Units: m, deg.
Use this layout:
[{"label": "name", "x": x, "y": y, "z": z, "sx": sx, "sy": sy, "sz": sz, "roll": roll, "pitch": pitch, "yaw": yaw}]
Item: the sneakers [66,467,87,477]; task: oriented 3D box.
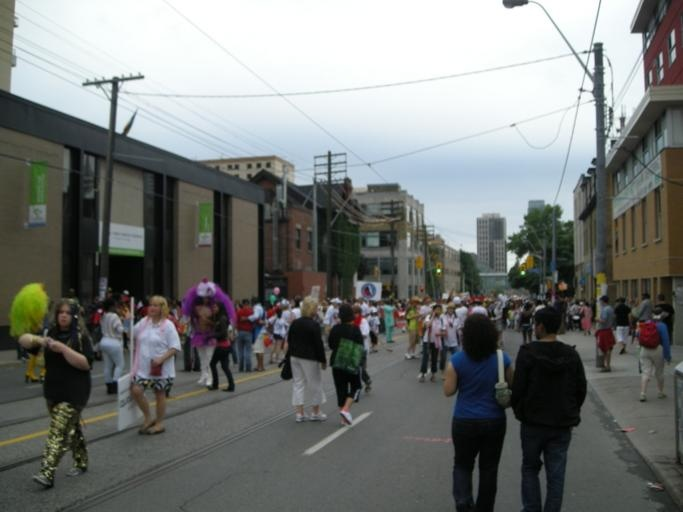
[{"label": "sneakers", "x": -3.783, "y": 3.073, "z": 9.464, "sx": 0.297, "sy": 0.144, "sz": 0.103, "roll": 12, "pitch": -4, "yaw": -23}]

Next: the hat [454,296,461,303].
[{"label": "hat", "x": 3.148, "y": 1.178, "z": 18.081, "sx": 0.165, "sy": 0.235, "sz": 0.226, "roll": 3, "pitch": 5, "yaw": 9}]

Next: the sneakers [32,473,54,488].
[{"label": "sneakers", "x": -4.075, "y": 3.041, "z": 9.055, "sx": 0.262, "sy": 0.217, "sz": 0.251, "roll": -1, "pitch": -4, "yaw": -15}]

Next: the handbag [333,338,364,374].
[{"label": "handbag", "x": 0.103, "y": 1.798, "z": 12.276, "sx": 0.541, "sy": 0.568, "sz": 0.324, "roll": 15, "pitch": -1, "yaw": -29}]

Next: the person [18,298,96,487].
[{"label": "person", "x": -3.904, "y": 1.875, "z": 9.220, "sx": 0.801, "sy": 2.549, "sz": 0.542, "roll": 0, "pitch": -4, "yaw": -29}]

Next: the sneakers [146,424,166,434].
[{"label": "sneakers", "x": -3.179, "y": 2.950, "z": 11.349, "sx": 0.232, "sy": 0.107, "sz": 0.127, "roll": 10, "pitch": -12, "yaw": -12}]

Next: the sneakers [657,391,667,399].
[{"label": "sneakers", "x": 6.740, "y": 2.913, "z": 13.946, "sx": 0.075, "sy": 0.153, "sz": 0.217, "roll": -1, "pitch": 3, "yaw": 42}]

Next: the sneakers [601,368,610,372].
[{"label": "sneakers", "x": 7.100, "y": 3.048, "z": 17.809, "sx": 0.239, "sy": 0.113, "sz": 0.087, "roll": 1, "pitch": -7, "yaw": 30}]
